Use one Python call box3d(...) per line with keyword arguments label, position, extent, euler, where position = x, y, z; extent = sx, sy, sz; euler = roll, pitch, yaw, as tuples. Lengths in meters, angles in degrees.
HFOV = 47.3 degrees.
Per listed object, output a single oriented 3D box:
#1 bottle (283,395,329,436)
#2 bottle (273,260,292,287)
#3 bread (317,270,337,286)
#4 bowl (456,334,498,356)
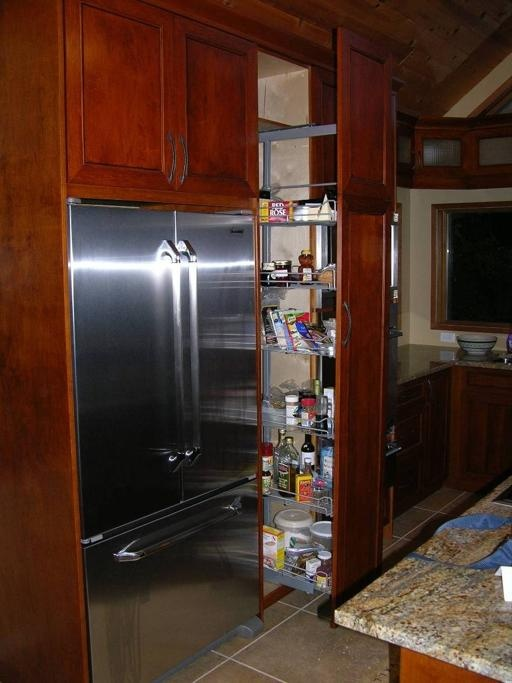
box3d(label="bottle", position=(0.225, 0.313, 2.573), extent=(0.194, 0.202, 0.114), euler=(9, 11, 43))
box3d(label="bottle", position=(0.119, -0.308, 2.608), extent=(0.094, 0.123, 0.230), euler=(-12, -1, 3))
box3d(label="bread", position=(0.289, -0.260, 2.414), extent=(0.028, 0.067, 0.085), euler=(-11, -1, -43))
box3d(label="bowl", position=(1.587, 0.016, 4.214), extent=(0.248, 0.172, 0.276), euler=(-12, -1, 18))
